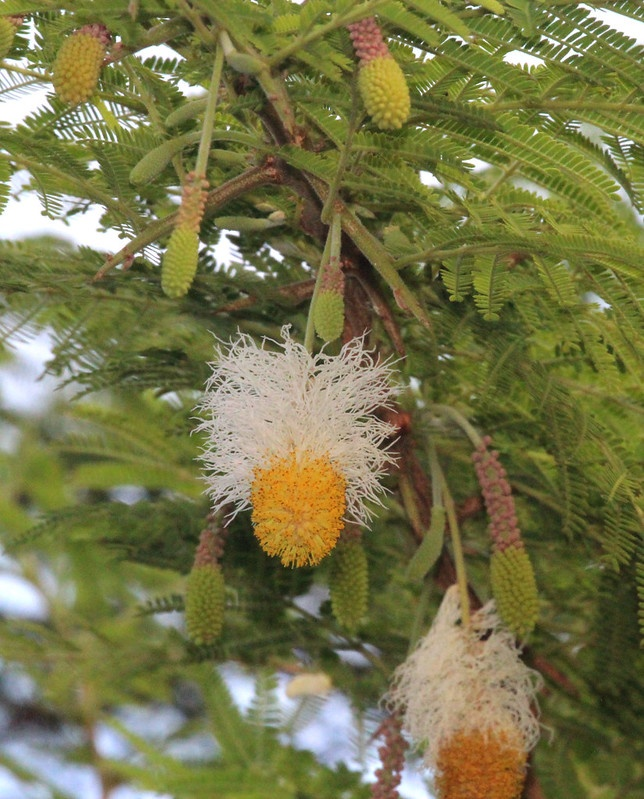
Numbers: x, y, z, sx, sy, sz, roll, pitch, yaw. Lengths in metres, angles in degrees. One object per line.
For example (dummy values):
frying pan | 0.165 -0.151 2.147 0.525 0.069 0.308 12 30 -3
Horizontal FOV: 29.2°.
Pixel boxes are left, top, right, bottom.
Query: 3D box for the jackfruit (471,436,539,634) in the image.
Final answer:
jackfruit | 0.217 0.160 1.471 0.113 0.223 0.086 -9 5 4

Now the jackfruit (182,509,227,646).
jackfruit | -0.170 0.218 1.502 0.080 0.123 0.082 -4 -8 -13

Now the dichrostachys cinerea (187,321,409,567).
dichrostachys cinerea | -0.040 0.042 1.529 0.320 0.281 0.263 -6 4 -20
